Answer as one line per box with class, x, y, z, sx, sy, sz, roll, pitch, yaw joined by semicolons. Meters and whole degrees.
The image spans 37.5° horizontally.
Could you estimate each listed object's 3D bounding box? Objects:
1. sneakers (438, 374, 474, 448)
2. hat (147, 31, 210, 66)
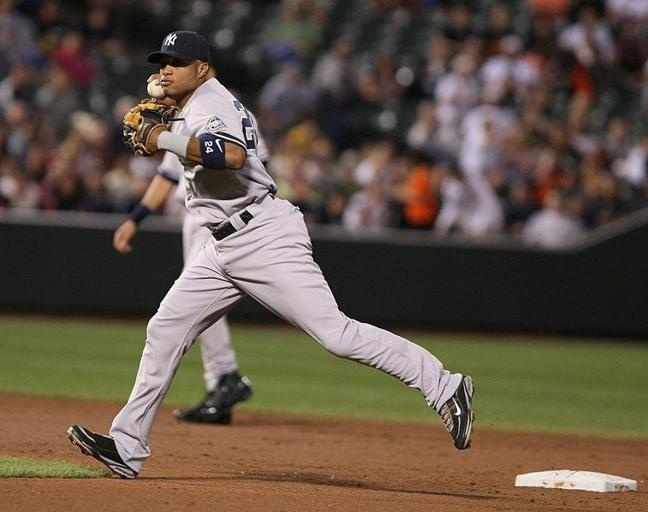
sneakers;0.676;0.783;4.816;0.225;0.383;0.141;-9;7;-3
hat;-0.739;-1.086;4.884;0.271;0.120;0.182;6;-2;-34
